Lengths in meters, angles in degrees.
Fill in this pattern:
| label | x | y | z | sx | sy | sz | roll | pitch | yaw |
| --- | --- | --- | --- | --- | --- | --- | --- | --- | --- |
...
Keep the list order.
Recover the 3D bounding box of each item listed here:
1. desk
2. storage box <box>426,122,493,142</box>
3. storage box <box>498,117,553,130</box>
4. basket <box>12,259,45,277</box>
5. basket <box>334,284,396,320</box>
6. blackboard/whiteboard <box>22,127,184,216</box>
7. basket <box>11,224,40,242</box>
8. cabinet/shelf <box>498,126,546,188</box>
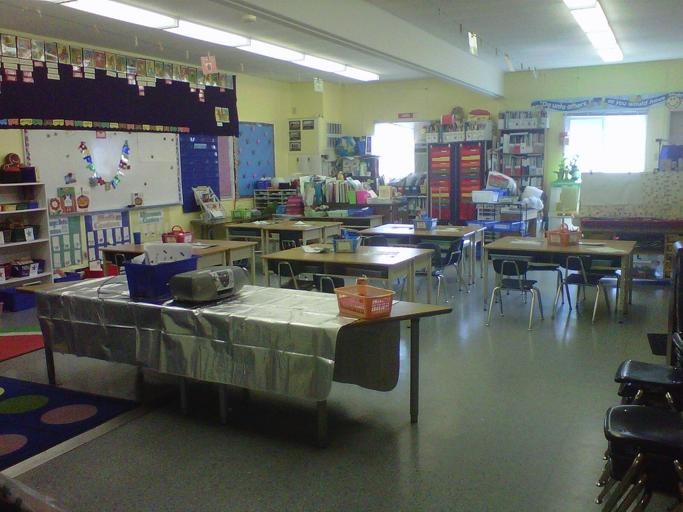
| label | x | y | z | sx | sy | sz | roll | pitch | yaw |
| --- | --- | --- | --- | --- | --- | --- | --- | --- | --- |
| desk | -0.881 | 0.836 | 4.637 | 3.437 | 0.994 | 0.929 | 4 | 14 | 20 |
| storage box | 2.554 | -2.676 | 11.736 | 1.350 | 0.456 | 0.418 | 4 | 14 | 21 |
| storage box | 3.829 | -2.761 | 11.296 | 0.986 | 0.243 | 0.326 | -2 | 13 | -4 |
| basket | -4.489 | 0.178 | 7.730 | 0.197 | 0.149 | 0.305 | 0 | 1 | 22 |
| basket | 0.181 | 0.366 | 4.249 | 0.312 | 0.188 | 0.429 | -4 | 8 | -33 |
| blackboard/whiteboard | -3.897 | -1.437 | 8.932 | 2.375 | 1.389 | 0.055 | -2 | -6 | -10 |
| basket | -4.467 | -0.310 | 7.585 | 0.242 | 0.188 | 0.356 | -2 | 2 | -34 |
| cabinet/shelf | 3.834 | -2.084 | 11.424 | 0.918 | 1.249 | 0.525 | 9 | 13 | 36 |
